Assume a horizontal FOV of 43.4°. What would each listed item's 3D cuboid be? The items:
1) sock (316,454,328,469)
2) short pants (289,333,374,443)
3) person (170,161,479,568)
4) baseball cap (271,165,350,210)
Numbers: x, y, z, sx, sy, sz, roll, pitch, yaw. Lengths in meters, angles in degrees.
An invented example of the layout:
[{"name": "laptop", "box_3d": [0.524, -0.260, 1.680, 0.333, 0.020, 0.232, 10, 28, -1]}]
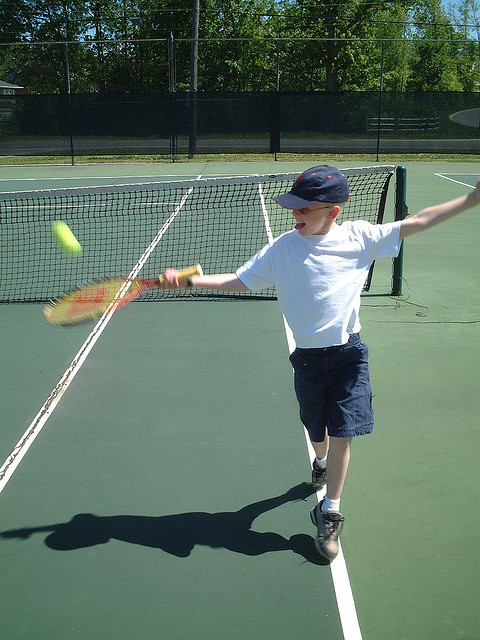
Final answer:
[{"name": "sock", "box_3d": [0.408, 0.708, 3.036, 0.057, 0.060, 0.070, -4, 14, -4]}, {"name": "short pants", "box_3d": [0.406, 0.279, 2.544, 0.210, 0.457, 0.323, -13, 23, -42]}, {"name": "person", "box_3d": [0.370, 0.183, 2.636, 1.000, 1.653, 0.448, 12, 19, 27]}, {"name": "baseball cap", "box_3d": [0.282, -0.537, 2.406, 0.345, 0.153, 0.215, -15, 32, -29]}]
